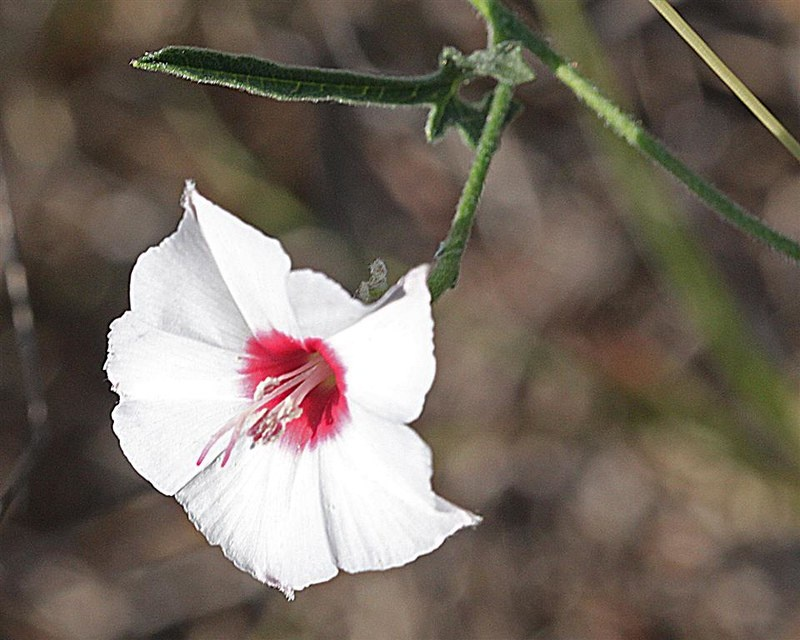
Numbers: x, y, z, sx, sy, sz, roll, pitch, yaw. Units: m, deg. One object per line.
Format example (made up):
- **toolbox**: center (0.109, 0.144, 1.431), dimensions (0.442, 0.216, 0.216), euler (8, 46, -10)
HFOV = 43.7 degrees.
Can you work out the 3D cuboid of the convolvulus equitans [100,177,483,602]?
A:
- **convolvulus equitans**: center (-0.127, 0.108, 1.760), dimensions (0.623, 0.713, 0.235), euler (16, 22, 40)
